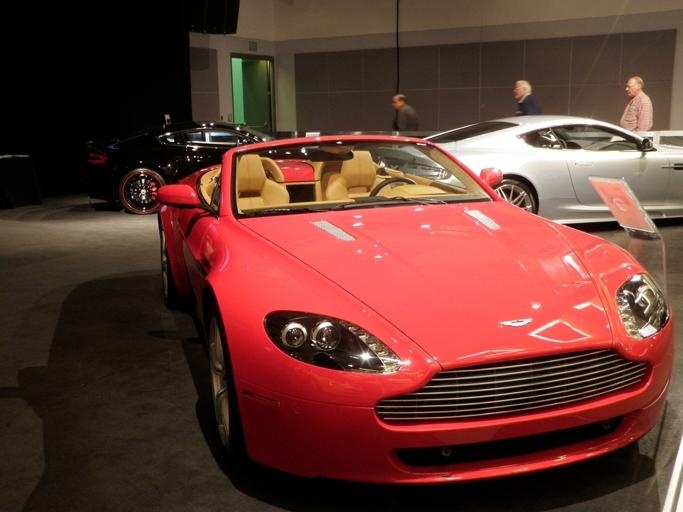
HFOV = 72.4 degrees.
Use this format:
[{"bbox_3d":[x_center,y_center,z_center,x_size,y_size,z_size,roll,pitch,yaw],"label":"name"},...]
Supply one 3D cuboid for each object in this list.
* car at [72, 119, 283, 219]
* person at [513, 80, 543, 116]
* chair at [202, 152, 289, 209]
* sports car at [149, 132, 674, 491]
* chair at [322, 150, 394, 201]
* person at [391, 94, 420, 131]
[{"bbox_3d":[-3.284,-2.008,10.116,4.031,1.194,2.157,-5,14,-14],"label":"car"},{"bbox_3d":[3.766,-3.195,9.424,0.429,0.664,0.753,2,16,15],"label":"person"},{"bbox_3d":[-0.791,-0.628,3.711,0.473,0.511,0.597,-7,27,-17],"label":"chair"},{"bbox_3d":[0.280,0.117,2.629,2.060,1.519,2.287,-11,18,-31],"label":"sports car"},{"bbox_3d":[0.075,-0.660,3.904,0.433,0.491,0.593,1,12,-28],"label":"chair"},{"bbox_3d":[1.566,-3.512,11.436,0.567,0.865,0.758,0,15,6],"label":"person"}]
